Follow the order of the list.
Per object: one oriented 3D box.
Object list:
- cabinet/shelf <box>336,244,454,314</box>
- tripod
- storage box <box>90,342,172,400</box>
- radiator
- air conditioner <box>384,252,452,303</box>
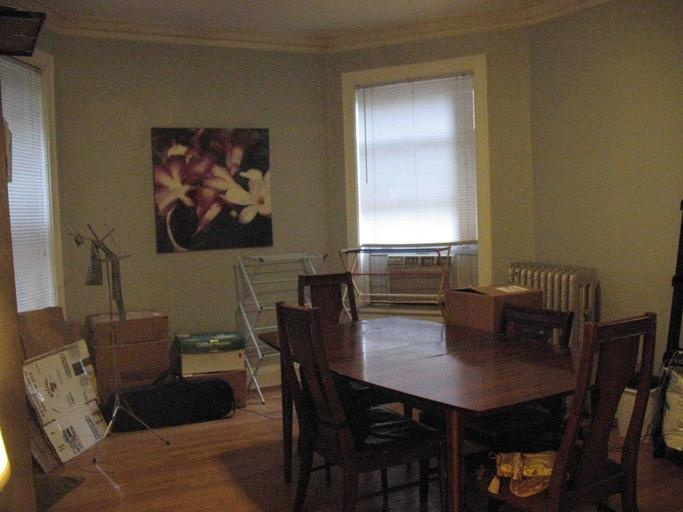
[{"bbox_3d":[0.689,0.195,6.042,0.758,0.524,0.431,-2,8,-10],"label":"cabinet/shelf"},{"bbox_3d":[-1.756,0.708,4.760,0.630,1.676,0.577,-3,-1,-26],"label":"tripod"},{"bbox_3d":[-1.864,0.990,5.136,0.706,0.468,0.399,3,-31,-43],"label":"storage box"},{"bbox_3d":[1.813,0.436,5.124,0.288,0.807,0.690,-15,17,-34],"label":"radiator"},{"bbox_3d":[0.718,0.276,6.013,0.717,0.536,0.389,1,-2,-17],"label":"air conditioner"}]
